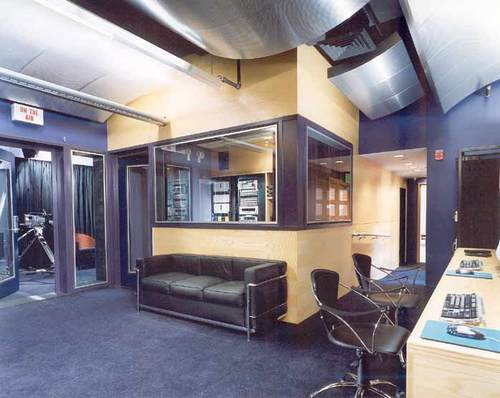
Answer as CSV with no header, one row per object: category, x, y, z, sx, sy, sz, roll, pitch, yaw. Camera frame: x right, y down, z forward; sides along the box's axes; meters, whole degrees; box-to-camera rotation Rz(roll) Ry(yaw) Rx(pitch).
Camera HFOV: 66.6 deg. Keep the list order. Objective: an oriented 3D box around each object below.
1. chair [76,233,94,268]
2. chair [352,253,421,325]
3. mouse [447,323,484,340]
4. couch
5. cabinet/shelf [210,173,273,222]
chair,-3.099,0.952,7.104,0.307,0.572,0.410,6,4,41
chair,1.685,1.145,4.711,0.629,0.714,0.904,-10,-6,35
mouse,1.537,0.943,2.701,0.159,0.048,0.102,-3,-4,24
couch,-0.570,1.253,5.330,2.050,0.881,0.738,3,8,30
cabinet/shelf,-0.089,-0.018,5.564,0.707,0.632,0.237,1,1,27
